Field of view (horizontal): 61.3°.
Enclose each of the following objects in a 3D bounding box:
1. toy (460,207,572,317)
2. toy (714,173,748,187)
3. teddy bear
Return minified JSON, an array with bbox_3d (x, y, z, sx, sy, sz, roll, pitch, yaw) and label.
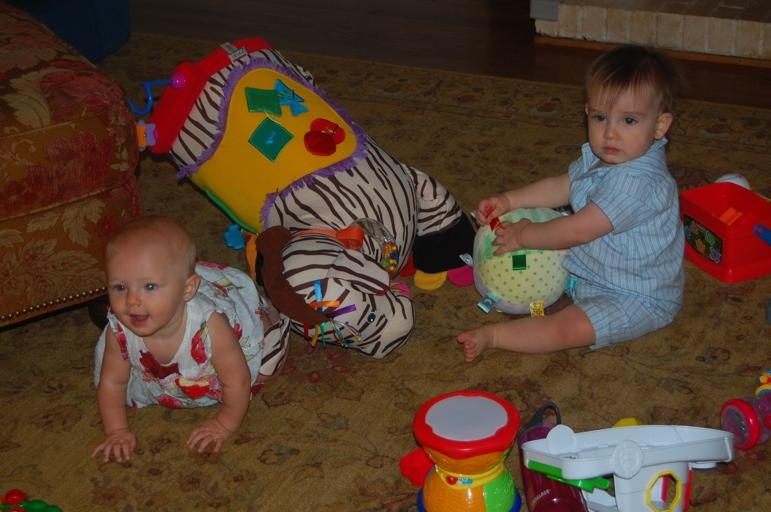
[{"bbox_3d":[0.476,0.037,1.996,0.408,0.154,0.450,0,18,20],"label":"toy"},{"bbox_3d":[1.112,-0.242,2.080,0.076,0.029,0.071,5,15,-8],"label":"toy"},{"bbox_3d":[-0.193,-0.214,1.923,0.704,0.960,0.358,-33,-7,-23],"label":"teddy bear"}]
